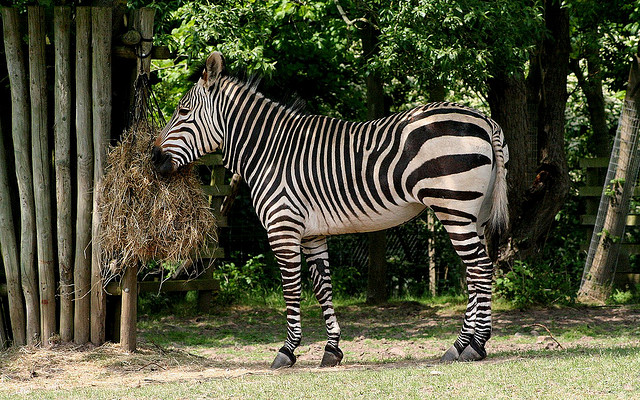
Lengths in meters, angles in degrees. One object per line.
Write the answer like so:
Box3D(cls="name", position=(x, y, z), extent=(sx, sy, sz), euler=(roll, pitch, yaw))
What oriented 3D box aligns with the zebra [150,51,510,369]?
Box3D(cls="zebra", position=(0.142, 0.115, 11.547), extent=(4.675, 3.565, 1.364), euler=(1, 2, 19))
